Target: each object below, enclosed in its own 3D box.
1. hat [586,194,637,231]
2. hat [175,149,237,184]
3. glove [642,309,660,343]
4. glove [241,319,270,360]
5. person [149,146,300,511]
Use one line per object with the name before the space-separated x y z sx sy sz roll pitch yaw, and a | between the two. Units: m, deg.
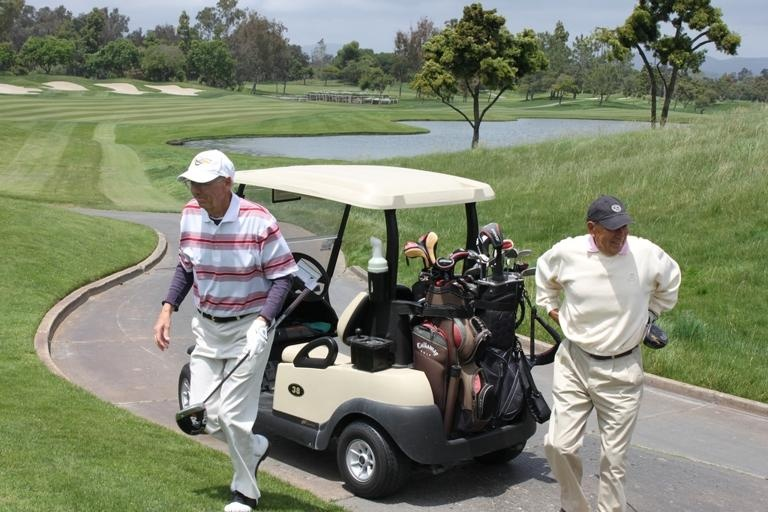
hat | 2.060 -0.408 7.227 0.285 0.229 0.385 -12 15 -36
hat | -1.580 -0.810 7.168 0.427 0.247 0.309 1 9 -36
glove | 2.441 0.662 7.342 0.092 0.262 0.162 15 -6 -3
glove | -1.122 0.758 7.011 0.204 0.353 0.104 21 -12 -28
person | -1.433 0.694 7.285 1.164 3.255 0.772 13 15 29
